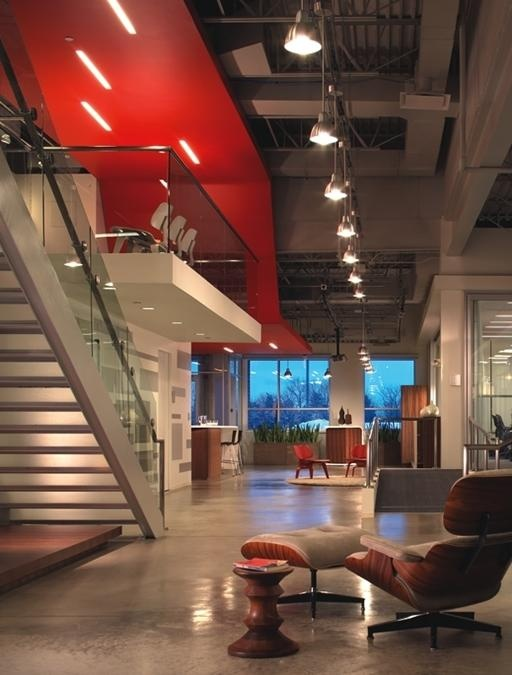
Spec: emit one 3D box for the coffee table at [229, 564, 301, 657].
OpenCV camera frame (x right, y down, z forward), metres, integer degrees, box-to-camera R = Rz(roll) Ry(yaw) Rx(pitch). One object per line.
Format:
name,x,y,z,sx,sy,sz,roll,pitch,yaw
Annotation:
coffee table,0.032,1.163,2.603,0.324,0.368,0.324,0,-7,-1

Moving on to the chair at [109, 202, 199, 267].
chair,-1.118,-0.858,6.693,0.497,0.642,1.358,1,-3,14

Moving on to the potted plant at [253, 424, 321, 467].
potted plant,0.863,3.466,19.864,1.986,1.081,1.356,-1,-1,9
